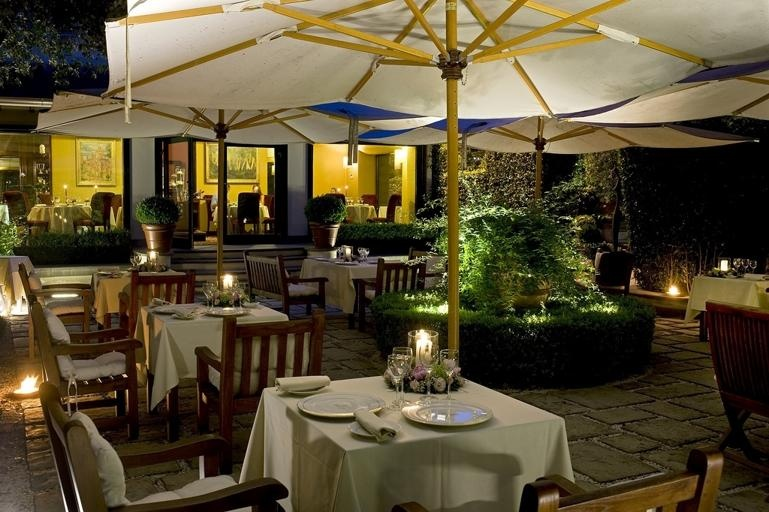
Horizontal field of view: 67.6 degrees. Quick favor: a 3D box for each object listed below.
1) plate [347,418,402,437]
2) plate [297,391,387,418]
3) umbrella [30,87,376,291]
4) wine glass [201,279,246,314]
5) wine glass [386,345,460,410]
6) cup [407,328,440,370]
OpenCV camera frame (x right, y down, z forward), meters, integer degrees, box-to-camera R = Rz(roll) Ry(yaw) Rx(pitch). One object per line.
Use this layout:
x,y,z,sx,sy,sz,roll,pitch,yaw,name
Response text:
-0.061,0.902,3.038,0.293,0.075,0.150,2,4,21,plate
-0.252,0.857,3.320,0.441,0.070,0.362,2,4,32,plate
-2.451,-0.965,7.701,3.502,1.998,3.362,4,-4,-38,umbrella
-1.568,0.376,5.678,0.365,0.207,0.344,-2,5,-15,wine glass
0.241,0.699,3.470,0.401,0.174,0.383,1,-1,6,wine glass
0.235,0.564,3.509,0.238,0.232,0.217,0,1,0,cup
